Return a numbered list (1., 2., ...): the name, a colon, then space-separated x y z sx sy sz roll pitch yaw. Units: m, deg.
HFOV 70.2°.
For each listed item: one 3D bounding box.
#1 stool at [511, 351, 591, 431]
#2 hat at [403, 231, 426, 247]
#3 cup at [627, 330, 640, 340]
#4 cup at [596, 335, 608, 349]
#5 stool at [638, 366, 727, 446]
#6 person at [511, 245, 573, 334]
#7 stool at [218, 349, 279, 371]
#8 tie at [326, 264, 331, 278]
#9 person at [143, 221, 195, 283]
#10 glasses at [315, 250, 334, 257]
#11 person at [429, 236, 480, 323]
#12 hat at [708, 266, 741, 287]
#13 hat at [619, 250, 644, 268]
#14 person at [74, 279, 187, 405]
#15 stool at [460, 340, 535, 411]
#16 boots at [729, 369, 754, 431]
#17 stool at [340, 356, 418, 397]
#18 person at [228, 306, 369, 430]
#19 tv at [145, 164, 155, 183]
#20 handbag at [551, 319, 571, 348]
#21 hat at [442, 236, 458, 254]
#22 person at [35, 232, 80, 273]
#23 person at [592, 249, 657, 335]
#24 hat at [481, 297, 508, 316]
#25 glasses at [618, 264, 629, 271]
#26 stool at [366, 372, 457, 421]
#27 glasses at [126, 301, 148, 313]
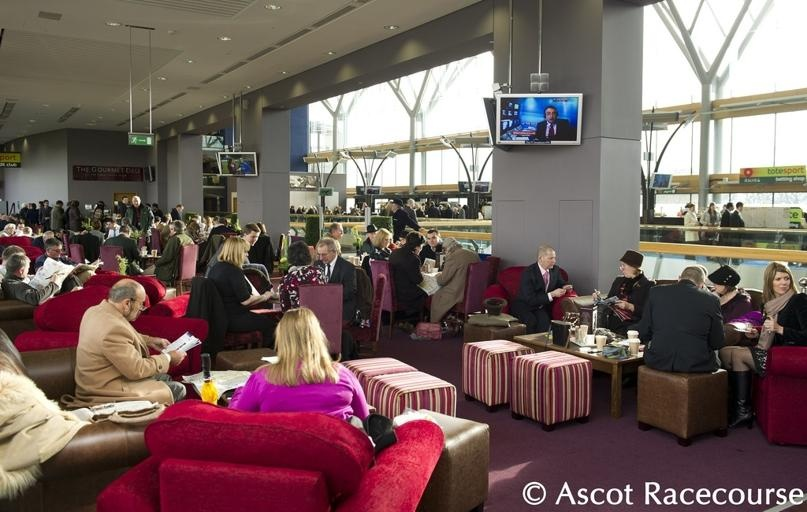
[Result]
1. stool: 1.597 1.383 6.311 0.727 0.722 0.720 -2 4 -30
2. hat: 0.153 -0.270 9.238 0.198 0.261 0.267 0 6 16
3. cup: 2.543 0.875 6.368 0.098 0.083 0.100 -1 2 0
4. cup: 2.205 0.959 6.455 0.134 0.147 0.129 2 8 0
5. stool: 2.878 1.444 5.977 0.736 0.742 0.736 0 0 -22
6. person: 1.996 0.679 8.286 0.903 1.604 0.778 4 5 27
7. stool: -1.711 1.101 6.131 0.403 0.160 0.398 -2 0 -30
8. tie: -1.043 0.224 7.906 0.077 0.135 0.031 -2 -10 0
9. person: -4.664 0.018 11.597 0.766 1.389 0.644 3 3 20
10. glasses: -1.033 -0.011 7.824 0.160 0.059 0.118 4 -5 -45
11. person: 0.806 0.443 9.254 0.864 1.345 0.890 1 0 7
12. hat: 3.891 0.274 6.948 0.312 0.178 0.239 16 9 17
13. hat: 2.978 0.064 7.493 0.260 0.140 0.202 12 5 -28
14. person: -2.537 0.841 5.316 0.698 1.055 0.560 -13 36 -30
15. stool: 1.039 1.378 6.731 0.755 0.596 0.771 3 0 4
16. boots: 3.558 1.520 6.060 0.216 0.576 0.207 5 14 22
17. stool: -0.233 1.118 5.249 0.548 0.260 0.511 0 -2 -25
18. person: -0.728 0.727 4.340 1.221 1.071 0.748 -1 13 -10
19. tv: -10.556 -3.420 23.967 0.266 0.700 0.802 0 2 -37
20. handbag: 1.807 0.914 6.631 0.149 0.276 0.254 -5 10 -30
21. hat: 0.796 -0.174 9.975 0.256 0.287 0.210 5 3 24
22. person: -5.996 -0.048 9.963 0.432 0.583 0.853 -2 -1 31
23. person: 2.798 0.490 7.406 0.681 1.216 0.581 17 -18 -5
24. hat: 1.252 0.716 7.816 0.250 0.150 0.252 -13 24 -14
25. glasses: 2.972 0.163 7.799 0.125 0.064 0.101 -5 -4 9
26. stool: 0.072 1.255 5.255 0.426 0.275 0.546 1 -1 -25
27. glasses: -2.485 0.473 5.337 0.232 0.077 0.233 2 6 -38
